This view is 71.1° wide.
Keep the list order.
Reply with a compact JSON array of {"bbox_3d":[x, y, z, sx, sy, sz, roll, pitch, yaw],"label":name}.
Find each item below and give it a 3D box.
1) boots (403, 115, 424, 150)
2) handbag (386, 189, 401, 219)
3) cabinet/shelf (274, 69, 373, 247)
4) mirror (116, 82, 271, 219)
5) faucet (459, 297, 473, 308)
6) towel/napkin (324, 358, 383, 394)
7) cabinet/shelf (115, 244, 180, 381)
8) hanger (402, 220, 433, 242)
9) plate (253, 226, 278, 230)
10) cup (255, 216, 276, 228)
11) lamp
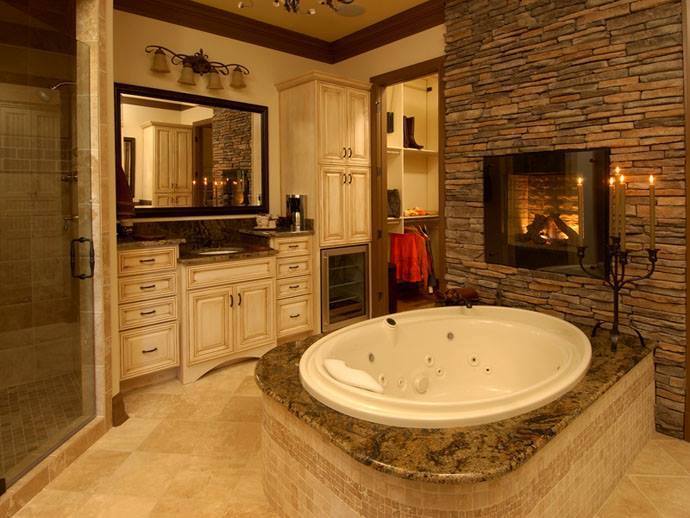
[{"bbox_3d":[0.841,-1.605,6.110,0.256,0.440,0.313,-2,7,-15],"label":"boots"},{"bbox_3d":[0.596,-0.671,5.814,0.157,0.342,0.126,1,7,7],"label":"handbag"},{"bbox_3d":[-0.193,-0.958,4.828,0.906,1.631,0.527,0,7,1],"label":"cabinet/shelf"},{"bbox_3d":[-1.425,-1.004,4.392,1.516,1.352,0.567,-2,4,-38],"label":"mirror"},{"bbox_3d":[0.902,0.332,3.611,0.057,0.062,0.093,2,8,21],"label":"faucet"},{"bbox_3d":[0.037,0.609,2.531,0.157,0.032,0.277,-9,15,-37],"label":"towel/napkin"},{"bbox_3d":[-1.497,0.401,3.732,0.487,1.087,0.167,-4,8,-28],"label":"cabinet/shelf"},{"bbox_3d":[0.971,-0.411,6.375,0.123,0.364,0.272,-4,6,-40],"label":"hanger"},{"bbox_3d":[-0.788,-0.308,4.787,0.217,0.031,0.201,-1,6,-12],"label":"plate"},{"bbox_3d":[-0.792,-0.364,4.826,0.118,0.111,0.169,0,-1,41],"label":"cup"},{"bbox_3d":[-1.323,-1.776,4.433,0.936,0.323,0.167,-2,12,-36],"label":"lamp"}]
